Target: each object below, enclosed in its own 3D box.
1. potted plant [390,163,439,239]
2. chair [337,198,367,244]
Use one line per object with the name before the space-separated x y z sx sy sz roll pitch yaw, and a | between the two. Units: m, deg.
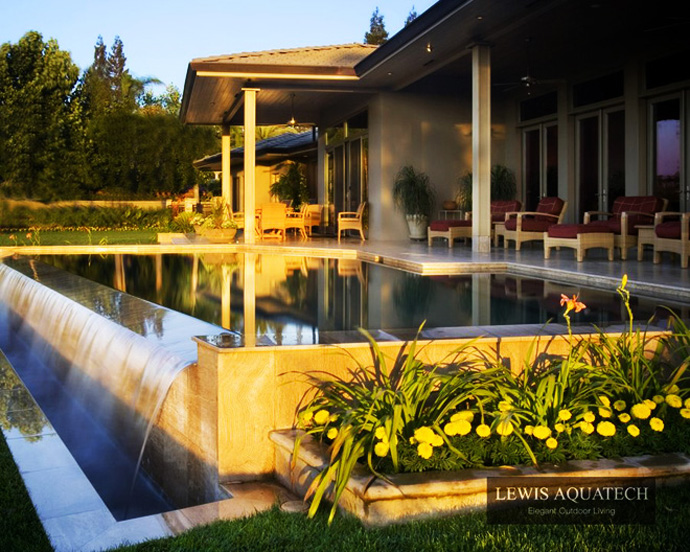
potted plant | 1.814 -1.803 14.530 0.940 1.655 0.866 -6 7 -23
chair | 0.177 -1.599 15.566 0.791 1.080 0.782 0 4 -2
